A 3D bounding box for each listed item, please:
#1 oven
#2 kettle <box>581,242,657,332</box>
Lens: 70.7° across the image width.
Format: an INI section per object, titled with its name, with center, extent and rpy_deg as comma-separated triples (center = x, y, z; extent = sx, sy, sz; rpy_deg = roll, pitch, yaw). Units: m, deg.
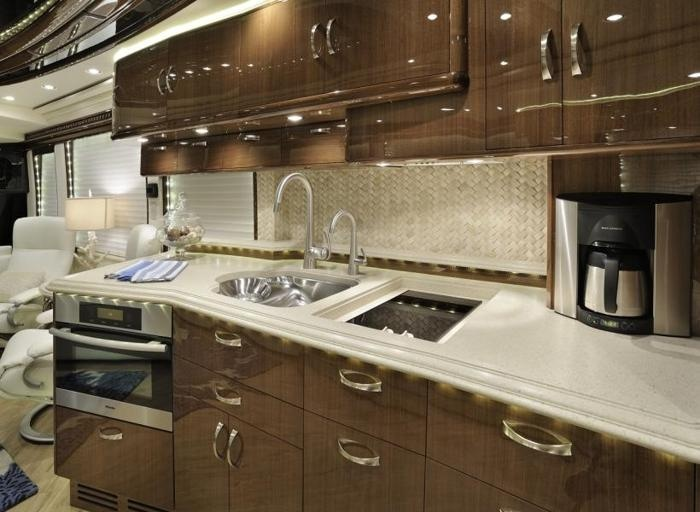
[oven]
center = -1.116, 0.482, 2.590
extent = 0.751, 0.618, 0.528
rpy_deg = 5, 7, 19
[kettle]
center = 1.029, 0.118, 1.932
extent = 0.266, 0.285, 0.318
rpy_deg = 4, 10, 35
